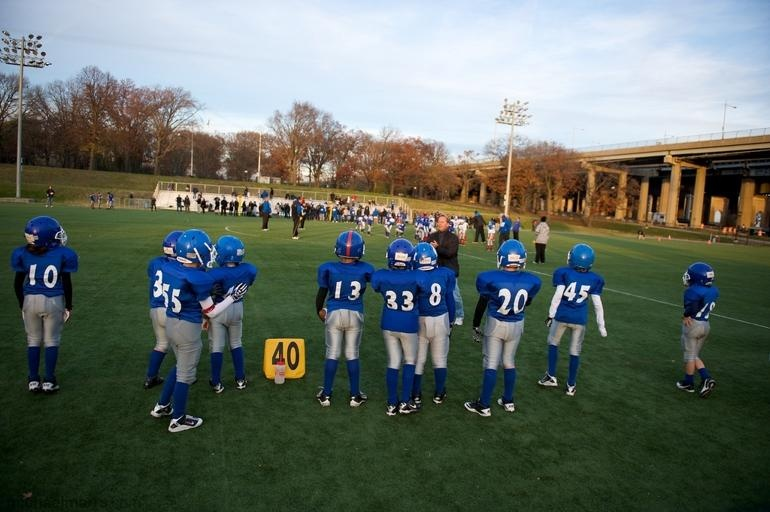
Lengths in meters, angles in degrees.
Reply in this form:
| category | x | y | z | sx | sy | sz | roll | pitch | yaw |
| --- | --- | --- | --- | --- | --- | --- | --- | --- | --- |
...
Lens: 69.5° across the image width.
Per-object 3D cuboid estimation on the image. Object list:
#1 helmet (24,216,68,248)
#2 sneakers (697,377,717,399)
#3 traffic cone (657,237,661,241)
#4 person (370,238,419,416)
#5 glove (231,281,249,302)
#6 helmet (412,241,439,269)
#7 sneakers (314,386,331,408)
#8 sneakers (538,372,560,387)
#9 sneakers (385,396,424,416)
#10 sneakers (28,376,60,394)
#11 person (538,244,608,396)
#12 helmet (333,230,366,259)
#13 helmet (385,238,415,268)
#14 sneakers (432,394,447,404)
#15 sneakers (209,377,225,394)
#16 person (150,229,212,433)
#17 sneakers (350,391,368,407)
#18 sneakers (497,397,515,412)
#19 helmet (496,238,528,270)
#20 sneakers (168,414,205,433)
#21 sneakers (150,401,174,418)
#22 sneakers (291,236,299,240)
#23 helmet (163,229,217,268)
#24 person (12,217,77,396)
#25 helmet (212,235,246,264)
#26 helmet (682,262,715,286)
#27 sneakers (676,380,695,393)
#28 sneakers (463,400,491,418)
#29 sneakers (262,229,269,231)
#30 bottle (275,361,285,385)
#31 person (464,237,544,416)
| category | x | y | z | sx | sy | sz | roll | pitch | yaw |
| --- | --- | --- | --- | --- | --- | --- | --- | --- | --- |
| helmet | -5.166 | -0.380 | 8.454 | 0.496 | 0.452 | 0.515 | -2 | 11 | -28 |
| sneakers | 5.488 | 2.231 | 9.431 | 0.191 | 0.456 | 0.213 | 0 | 45 | -1 |
| traffic cone | 24.091 | -1.532 | 48.888 | 0.397 | 0.426 | 0.386 | -7 | 12 | -39 |
| person | 0.151 | 1.075 | 8.443 | 0.683 | 2.652 | 0.602 | -2 | 10 | -24 |
| glove | -2.156 | 0.523 | 8.130 | 0.293 | 0.218 | 0.086 | -41 | 13 | 8 |
| helmet | 0.626 | -0.008 | 8.394 | 0.324 | 0.333 | 0.413 | 1 | 32 | 3 |
| sneakers | -0.958 | 2.197 | 8.732 | 0.146 | 0.163 | 0.359 | 1 | 7 | -10 |
| sneakers | 2.834 | 2.132 | 9.553 | 0.397 | 0.265 | 0.169 | 1 | 2 | 16 |
| sneakers | 0.298 | 2.285 | 8.582 | 0.577 | 0.243 | 0.203 | -11 | 19 | -16 |
| sneakers | -5.234 | 1.982 | 8.504 | 0.438 | 0.173 | 0.194 | 3 | -4 | -36 |
| person | 3.142 | 1.056 | 9.291 | 0.913 | 2.461 | 0.735 | 5 | 10 | 16 |
| helmet | -0.543 | -0.195 | 8.536 | 0.359 | 0.362 | 0.458 | 3 | 51 | -4 |
| helmet | 0.223 | -0.067 | 8.441 | 0.364 | 0.368 | 0.458 | 4 | 31 | 2 |
| sneakers | 0.865 | 2.267 | 8.855 | 0.256 | 0.110 | 0.091 | -10 | 21 | -35 |
| sneakers | -2.705 | 2.088 | 8.924 | 0.140 | 0.124 | 0.282 | 2 | -2 | -35 |
| person | -2.788 | 1.029 | 8.143 | 0.982 | 2.816 | 1.016 | 13 | 12 | 43 |
| sneakers | -0.411 | 2.245 | 8.717 | 0.132 | 0.140 | 0.328 | 3 | 8 | 21 |
| sneakers | 1.914 | 2.334 | 8.763 | 0.120 | 0.129 | 0.311 | -2 | 14 | -22 |
| helmet | 1.996 | -0.042 | 8.706 | 0.388 | 0.390 | 0.489 | 2 | 19 | 8 |
| sneakers | -2.843 | 2.369 | 7.991 | 0.539 | 0.215 | 0.189 | -5 | 30 | -29 |
| sneakers | -3.256 | 2.252 | 8.145 | 0.402 | 0.171 | 0.167 | 0 | 18 | -13 |
| sneakers | -4.377 | -0.894 | 27.243 | 0.123 | 0.143 | 0.374 | 4 | 8 | 23 |
| helmet | -2.698 | -0.167 | 7.978 | 0.612 | 0.536 | 0.470 | -16 | 25 | -43 |
| person | -5.168 | 0.737 | 8.471 | 0.867 | 2.661 | 0.502 | 0 | 10 | -14 |
| helmet | -2.436 | -0.094 | 8.649 | 0.388 | 0.405 | 0.474 | -18 | 36 | -42 |
| helmet | 5.393 | 0.320 | 9.532 | 0.411 | 0.397 | 0.338 | 7 | 10 | 24 |
| sneakers | 5.215 | 2.267 | 9.687 | 0.139 | 0.129 | 0.316 | -14 | 16 | -26 |
| sneakers | 1.413 | 2.342 | 8.655 | 0.443 | 0.193 | 0.171 | 12 | 14 | 24 |
| sneakers | -6.566 | -1.441 | 30.543 | 0.369 | 0.151 | 0.121 | -6 | 10 | -37 |
| bottle | -1.725 | 1.926 | 9.179 | 0.174 | 0.357 | 0.146 | 0 | 10 | -13 |
| person | 1.781 | 1.105 | 8.561 | 0.914 | 2.683 | 0.529 | -2 | 10 | -25 |
